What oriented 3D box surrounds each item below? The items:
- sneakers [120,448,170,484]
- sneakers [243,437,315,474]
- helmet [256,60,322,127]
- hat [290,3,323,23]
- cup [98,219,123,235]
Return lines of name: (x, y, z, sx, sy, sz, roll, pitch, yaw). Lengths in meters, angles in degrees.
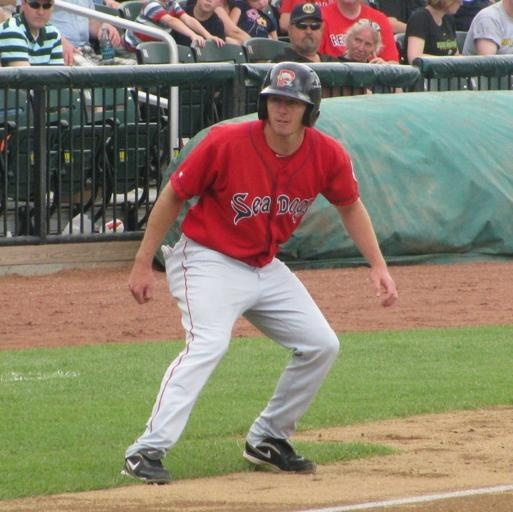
sneakers: (-0.644, 1.209, 7.474, 0.276, 0.214, 0.102, -1, 7, -7)
sneakers: (0.123, 1.215, 7.927, 0.491, 0.243, 0.178, 9, -1, 8)
helmet: (0.210, -0.956, 7.680, 0.290, 0.335, 0.403, 10, 5, 13)
hat: (0.540, -2.629, 13.999, 0.427, 0.243, 0.628, 2, 7, -4)
cup: (-1.580, -0.330, 13.965, 0.230, 0.132, 0.150, -3, 13, -5)
